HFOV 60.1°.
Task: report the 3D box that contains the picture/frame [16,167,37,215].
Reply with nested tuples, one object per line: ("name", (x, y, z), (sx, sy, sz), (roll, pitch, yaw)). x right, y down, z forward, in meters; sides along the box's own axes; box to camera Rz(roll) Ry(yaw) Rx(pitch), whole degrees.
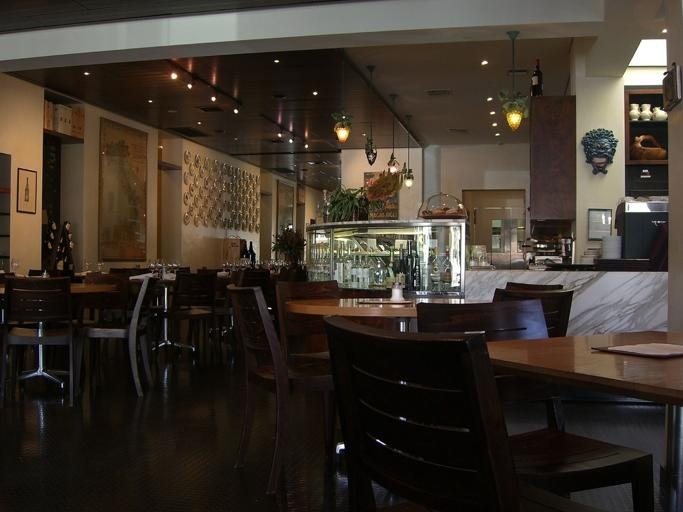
("picture/frame", (-4.697, -0.968, 8.770), (0.595, 0.657, 0.012), (10, 7, 36))

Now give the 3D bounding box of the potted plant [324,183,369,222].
("potted plant", (0.066, -0.516, 5.895), (0.428, 0.336, 0.439), (0, 3, -1))

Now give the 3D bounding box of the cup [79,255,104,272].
("cup", (-4.238, 0.113, 9.893), (0.248, 0.433, 0.250), (0, 2, 0))

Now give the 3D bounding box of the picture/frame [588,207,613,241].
("picture/frame", (3.017, -0.354, 6.892), (0.261, 0.385, 0.047), (3, -10, 20))

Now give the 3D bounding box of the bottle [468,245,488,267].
("bottle", (1.411, 0.004, 6.052), (0.247, 0.263, 0.211), (0, -6, 6))

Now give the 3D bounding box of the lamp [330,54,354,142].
("lamp", (0.015, -1.871, 7.305), (0.241, 0.874, 0.231), (1, 12, 12))
